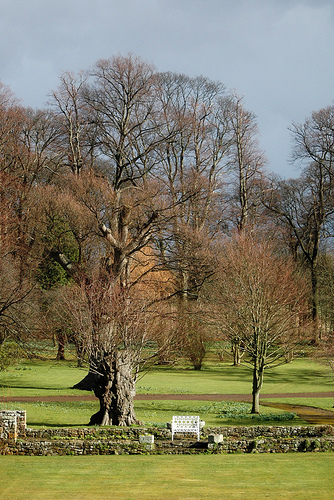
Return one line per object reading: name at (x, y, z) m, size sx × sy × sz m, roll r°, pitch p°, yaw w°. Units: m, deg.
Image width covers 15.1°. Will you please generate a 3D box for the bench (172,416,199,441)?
bench at (0.721, 6.879, 48.711) m, size 0.792 × 0.841 × 0.039 m, roll 0°, pitch -2°, yaw 5°
